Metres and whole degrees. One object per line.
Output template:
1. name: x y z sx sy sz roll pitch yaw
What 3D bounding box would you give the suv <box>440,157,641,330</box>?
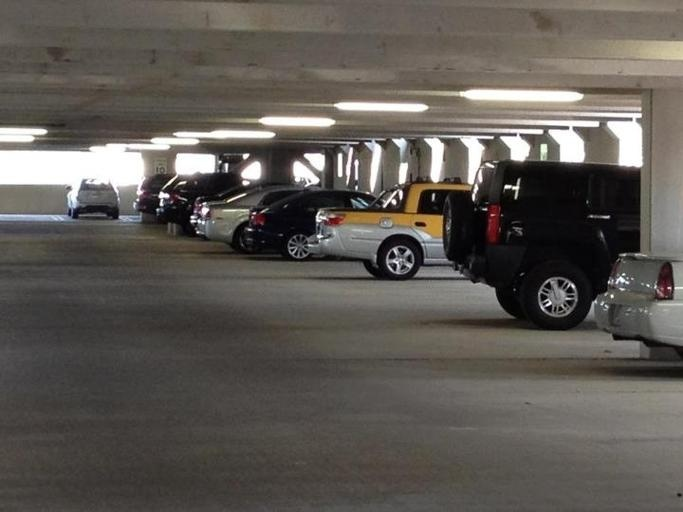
1. suv: 3.149 -0.336 12.138 3.290 1.857 1.930 -3 4 -10

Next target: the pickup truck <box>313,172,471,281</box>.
1. pickup truck: 1.109 -0.520 18.013 3.688 1.615 1.865 -3 4 -11

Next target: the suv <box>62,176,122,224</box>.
1. suv: -17.939 -4.122 54.114 2.910 3.022 3.370 -3 5 -44
